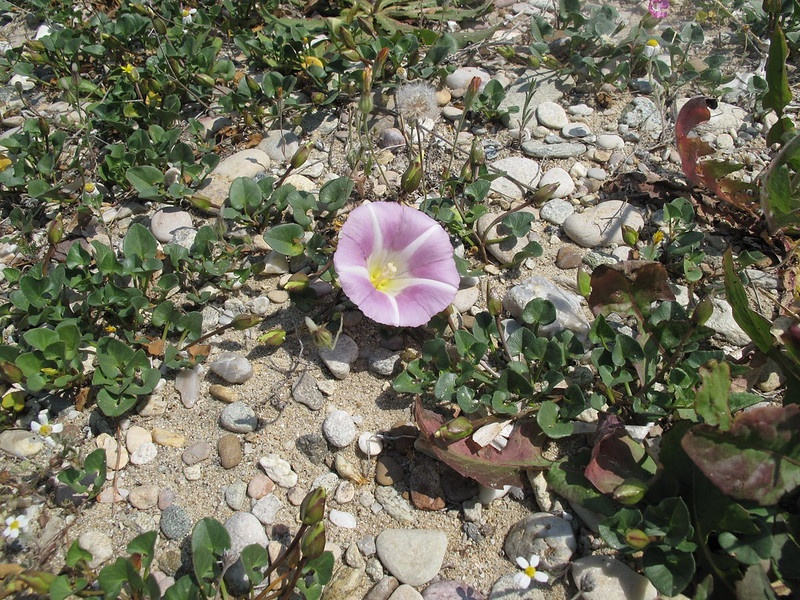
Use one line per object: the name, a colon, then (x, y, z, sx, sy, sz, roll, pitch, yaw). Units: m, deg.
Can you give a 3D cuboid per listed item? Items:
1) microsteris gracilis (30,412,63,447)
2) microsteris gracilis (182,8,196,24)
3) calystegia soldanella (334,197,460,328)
microsteris gracilis: (-1.482, 0.549, 2.715, 0.157, 0.052, 0.166, 6, 70, -30)
microsteris gracilis: (-1.306, -1.766, 4.036, 0.044, 0.086, 0.126, -7, 23, -24)
calystegia soldanella: (-0.057, -0.177, 3.056, 0.638, 0.682, 0.339, 20, 80, 7)
